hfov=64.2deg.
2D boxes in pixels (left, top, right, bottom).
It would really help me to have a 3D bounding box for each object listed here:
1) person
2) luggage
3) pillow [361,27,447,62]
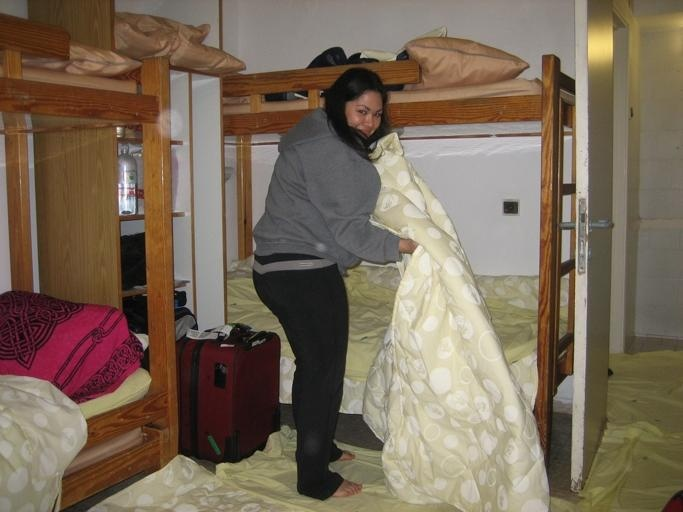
[{"bbox_3d":[-0.077,0.135,2.325,0.603,1.812,0.300,-2,7,-6],"label":"person"},{"bbox_3d":[-0.567,0.663,2.751,0.454,0.579,0.503,1,6,6],"label":"luggage"},{"bbox_3d":[0.377,-1.243,3.273,0.408,0.145,0.339,11,36,30],"label":"pillow"}]
